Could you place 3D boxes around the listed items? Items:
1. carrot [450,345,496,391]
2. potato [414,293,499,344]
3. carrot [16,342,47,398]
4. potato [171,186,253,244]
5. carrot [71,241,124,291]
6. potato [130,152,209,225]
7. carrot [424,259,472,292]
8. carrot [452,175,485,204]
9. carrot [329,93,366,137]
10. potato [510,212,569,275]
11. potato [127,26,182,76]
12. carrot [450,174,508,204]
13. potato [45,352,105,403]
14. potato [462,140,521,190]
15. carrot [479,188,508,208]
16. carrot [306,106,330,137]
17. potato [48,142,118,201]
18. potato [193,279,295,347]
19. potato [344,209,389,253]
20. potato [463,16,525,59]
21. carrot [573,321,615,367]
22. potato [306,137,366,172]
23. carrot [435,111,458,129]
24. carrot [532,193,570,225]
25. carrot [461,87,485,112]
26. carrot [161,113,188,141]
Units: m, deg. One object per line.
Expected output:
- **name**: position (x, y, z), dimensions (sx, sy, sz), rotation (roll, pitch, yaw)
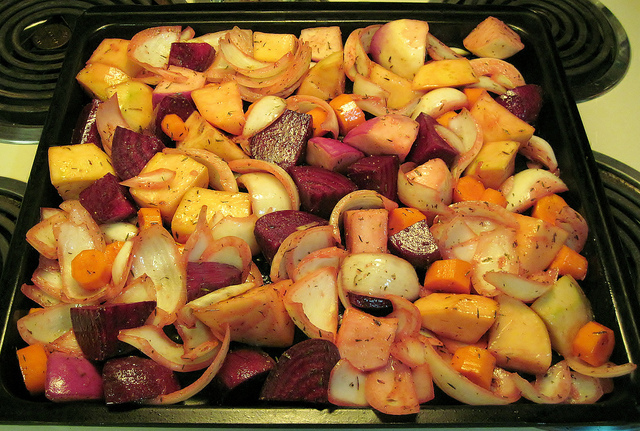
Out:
- **carrot**: position (0.473, 0.451, 1.962), dimensions (0.119, 0.083, 0.124), rotation (24, 26, -1)
- **potato**: position (0.425, 0.303, 2.049), dimensions (0.263, 0.122, 0.158), rotation (9, 23, 15)
- **carrot**: position (-0.883, 0.479, 1.973), dimensions (0.068, 0.125, 0.124), rotation (-13, 13, -13)
- **potato**: position (-0.358, -0.018, 2.162), dimensions (0.269, 0.094, 0.260), rotation (-1, 30, 6)
- **carrot**: position (-0.711, 0.166, 2.056), dimensions (0.155, 0.132, 0.106), rotation (-1, 19, -19)
- **potato**: position (-0.501, -0.100, 2.237), dimensions (0.225, 0.230, 0.160), rotation (37, -15, 7)
- **carrot**: position (0.411, 0.192, 2.052), dimensions (0.170, 0.094, 0.131), rotation (-1, -12, 14)
- **carrot**: position (0.507, -0.087, 2.184), dimensions (0.085, 0.090, 0.055), rotation (10, 16, 2)
- **carrot**: position (0.095, -0.347, 2.258), dimensions (0.057, 0.106, 0.107), rotation (-18, 48, -26)
- **potato**: position (0.700, 0.102, 2.098), dimensions (0.181, 0.169, 0.109), rotation (12, 19, 19)
- **potato**: position (-0.661, -0.633, 2.418), dimensions (0.242, 0.071, 0.244), rotation (-21, 9, 36)
- **carrot**: position (0.548, -0.092, 2.196), dimensions (0.188, 0.073, 0.095), rotation (11, 19, 13)
- **potato**: position (-0.740, 0.484, 1.947), dimensions (0.161, 0.111, 0.107), rotation (-2, 19, -22)
- **potato**: position (0.595, -0.190, 2.265), dimensions (0.073, 0.143, 0.193), rotation (32, 8, -28)
- **carrot**: position (0.588, -0.060, 2.177), dimensions (0.063, 0.041, 0.072), rotation (16, 41, -7)
- **carrot**: position (0.001, -0.349, 2.302), dimensions (0.076, 0.087, 0.104), rotation (-5, -5, 21)
- **potato**: position (-0.809, -0.147, 2.228), dimensions (0.220, 0.171, 0.183), rotation (41, 18, 27)
- **potato**: position (-0.207, 0.314, 1.973), dimensions (0.189, 0.099, 0.258), rotation (-32, -36, 34)
- **potato**: position (0.160, 0.054, 2.153), dimensions (0.123, 0.137, 0.127), rotation (0, -7, -4)
- **potato**: position (0.653, -0.644, 2.450), dimensions (0.170, 0.107, 0.166), rotation (-15, 56, -24)
- **carrot**: position (0.865, 0.397, 2.045), dimensions (0.081, 0.108, 0.119), rotation (11, 19, 6)
- **potato**: position (0.039, -0.214, 2.200), dimensions (0.133, 0.057, 0.138), rotation (1, 19, -41)
- **carrot**: position (0.444, -0.343, 2.287), dimensions (0.059, 0.018, 0.064), rotation (-37, 46, -6)
- **carrot**: position (0.798, -0.025, 2.226), dimensions (0.123, 0.108, 0.113), rotation (-17, 19, -32)
- **carrot**: position (0.551, -0.424, 2.380), dimensions (0.076, 0.079, 0.031), rotation (20, -4, 20)
- **carrot**: position (-0.502, -0.306, 2.268), dimensions (0.094, 0.070, 0.073), rotation (50, 6, -5)
